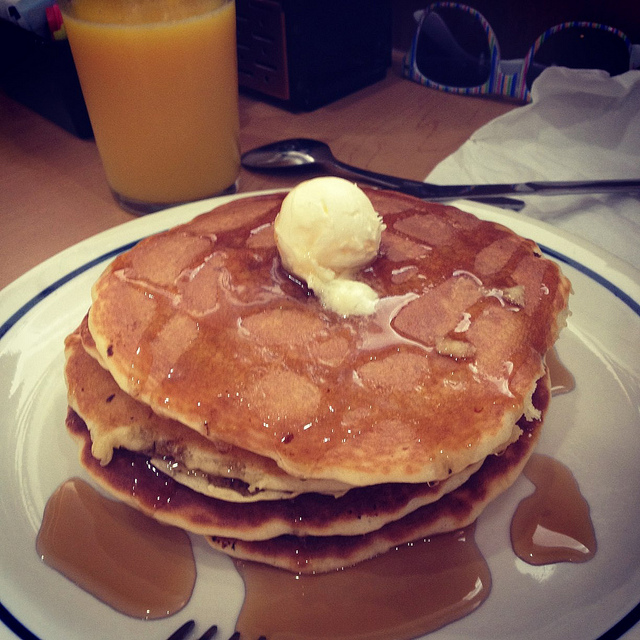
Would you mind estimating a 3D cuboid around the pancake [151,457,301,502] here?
[{"bbox_3d":[-0.164,0.242,1.000,0.106,0.101,0.023,23,82,-2],"label":"pancake"}]

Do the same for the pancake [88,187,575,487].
[{"bbox_3d":[0.017,-0.028,1.043,0.778,0.101,0.555,8,57,3],"label":"pancake"}]
